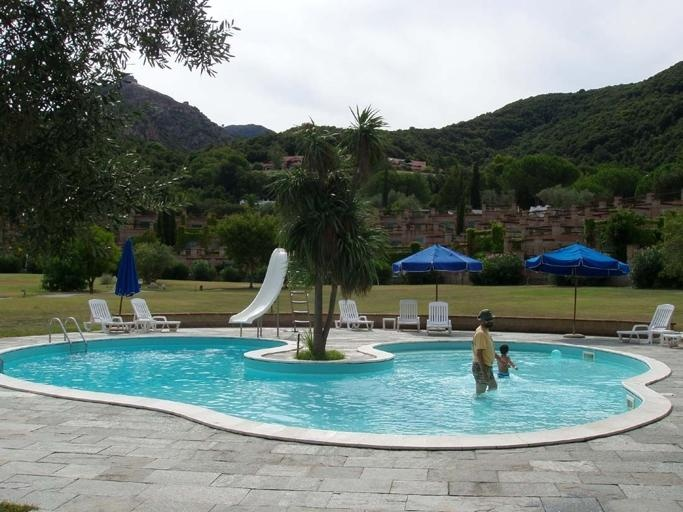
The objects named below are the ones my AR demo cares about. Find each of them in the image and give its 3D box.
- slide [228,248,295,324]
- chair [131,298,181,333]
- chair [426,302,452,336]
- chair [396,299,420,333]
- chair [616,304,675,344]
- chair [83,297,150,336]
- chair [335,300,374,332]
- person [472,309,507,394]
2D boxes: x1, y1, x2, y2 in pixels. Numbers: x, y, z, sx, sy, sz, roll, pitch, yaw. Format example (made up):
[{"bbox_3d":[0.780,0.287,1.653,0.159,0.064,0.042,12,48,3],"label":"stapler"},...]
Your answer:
[{"bbox_3d":[-2.359,0.937,19.356,1.371,2.253,2.845,1,2,-1],"label":"slide"},{"bbox_3d":[-6.519,1.996,21.605,1.900,1.262,1.047,-3,-4,28],"label":"chair"},{"bbox_3d":[3.218,2.140,21.492,0.622,0.867,1.128,-1,-8,5],"label":"chair"},{"bbox_3d":[2.309,2.053,22.295,0.656,1.066,1.056,0,-8,5],"label":"chair"},{"bbox_3d":[9.072,2.021,18.892,1.872,1.376,1.086,-3,-2,32],"label":"chair"},{"bbox_3d":[-7.502,2.041,20.930,1.928,1.158,1.081,-3,-5,38],"label":"chair"},{"bbox_3d":[0.374,2.161,23.014,0.893,1.164,1.604,1,-2,-29],"label":"chair"},{"bbox_3d":[2.709,1.790,12.168,0.436,1.627,1.483,1,2,13],"label":"person"}]
